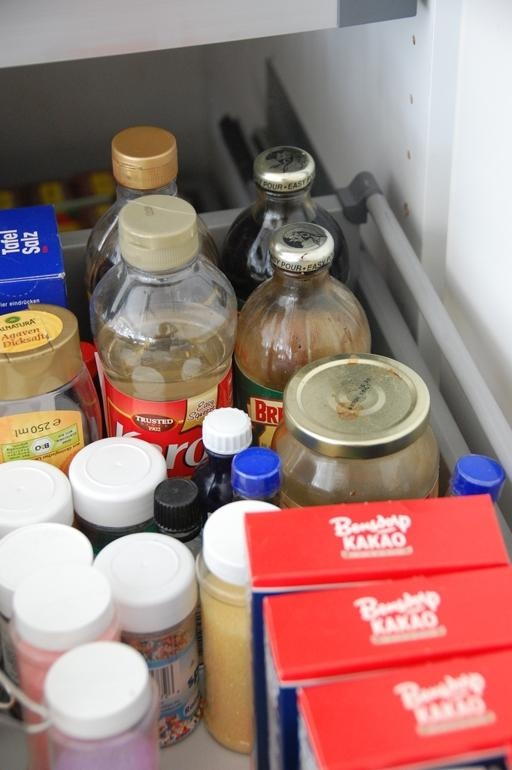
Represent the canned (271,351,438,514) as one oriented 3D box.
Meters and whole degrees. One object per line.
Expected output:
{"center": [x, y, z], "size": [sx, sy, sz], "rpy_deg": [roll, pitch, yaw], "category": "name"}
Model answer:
{"center": [0.067, 0.036, 0.425], "size": [0.108, 0.081, 0.099], "rpy_deg": [-23, 32, -35], "category": "canned"}
